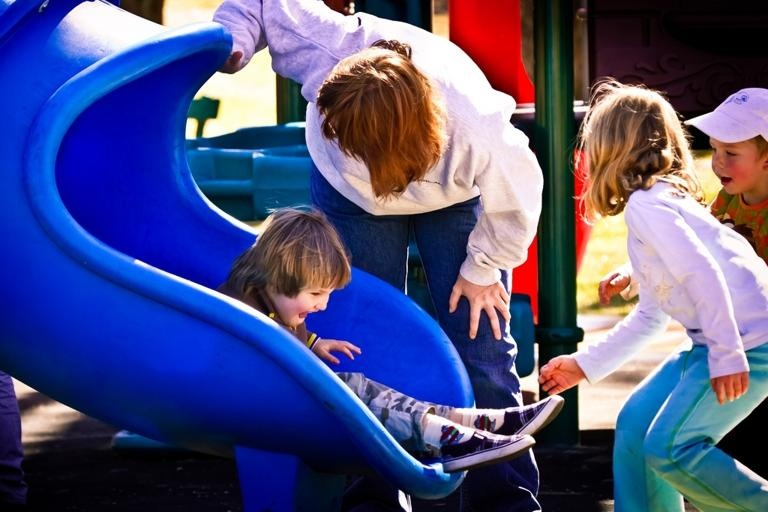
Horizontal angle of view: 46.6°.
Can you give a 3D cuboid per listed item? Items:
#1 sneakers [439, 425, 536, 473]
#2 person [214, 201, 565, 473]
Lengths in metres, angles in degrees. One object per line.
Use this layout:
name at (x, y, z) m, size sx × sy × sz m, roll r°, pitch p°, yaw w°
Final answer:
sneakers at (0.226, 0.493, 2.213) m, size 0.256 × 0.096 × 0.098 m, roll -12°, pitch 14°, yaw 34°
person at (-0.063, 0.206, 2.426) m, size 1.005 × 0.529 × 0.402 m, roll 18°, pitch 7°, yaw 1°
